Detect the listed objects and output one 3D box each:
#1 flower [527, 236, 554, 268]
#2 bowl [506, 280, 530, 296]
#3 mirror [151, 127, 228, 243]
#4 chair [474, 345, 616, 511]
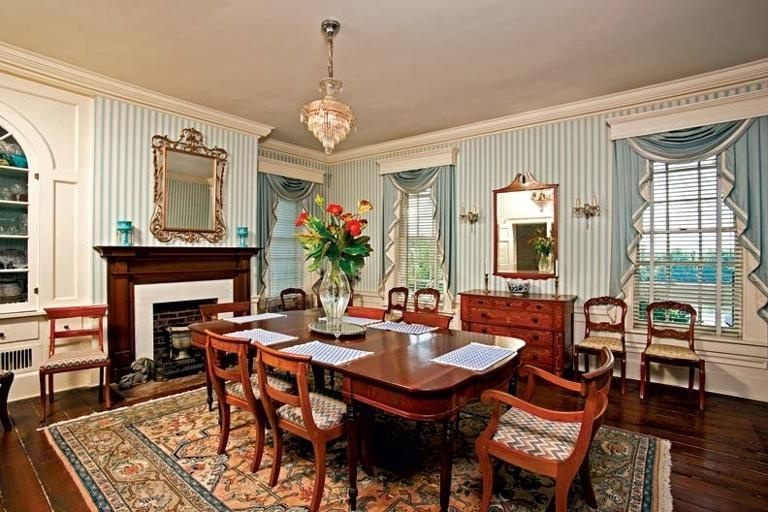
[{"bbox_3d":[2.166,-0.036,6.754,0.387,0.467,0.371,-1,0,-16],"label":"flower"},{"bbox_3d":[1.815,0.433,6.426,0.225,0.129,0.219,-1,-3,0],"label":"bowl"},{"bbox_3d":[-2.658,-0.946,6.523,0.987,1.442,0.103,1,0,-43],"label":"mirror"},{"bbox_3d":[1.301,1.446,3.889,0.993,1.391,0.579,0,0,24],"label":"chair"}]
